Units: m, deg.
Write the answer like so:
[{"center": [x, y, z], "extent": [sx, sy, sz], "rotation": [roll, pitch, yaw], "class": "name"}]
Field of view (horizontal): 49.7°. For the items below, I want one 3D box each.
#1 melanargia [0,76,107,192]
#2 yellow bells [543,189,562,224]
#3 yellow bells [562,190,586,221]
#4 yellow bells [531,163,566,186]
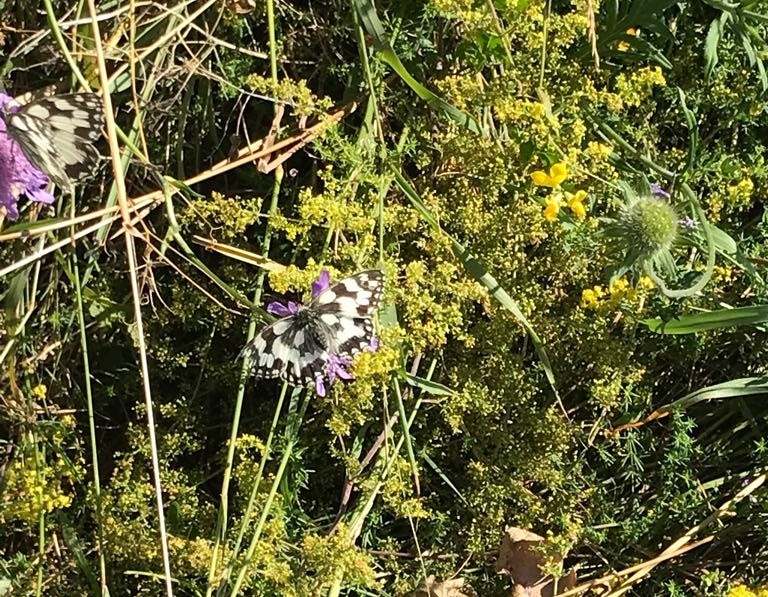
[{"center": [-0.900, -0.459, 2.370], "extent": [0.260, 0.185, 0.279], "rotation": [18, 6, -9], "class": "melanargia"}, {"center": [0.496, -0.268, 2.434], "extent": [0.049, 0.026, 0.100], "rotation": [30, 40, -6], "class": "yellow bells"}, {"center": [0.557, -0.268, 2.440], "extent": [0.036, 0.078, 0.099], "rotation": [-3, 38, 47], "class": "yellow bells"}, {"center": [0.476, -0.346, 2.408], "extent": [0.079, 0.035, 0.088], "rotation": [-36, 22, -17], "class": "yellow bells"}]
